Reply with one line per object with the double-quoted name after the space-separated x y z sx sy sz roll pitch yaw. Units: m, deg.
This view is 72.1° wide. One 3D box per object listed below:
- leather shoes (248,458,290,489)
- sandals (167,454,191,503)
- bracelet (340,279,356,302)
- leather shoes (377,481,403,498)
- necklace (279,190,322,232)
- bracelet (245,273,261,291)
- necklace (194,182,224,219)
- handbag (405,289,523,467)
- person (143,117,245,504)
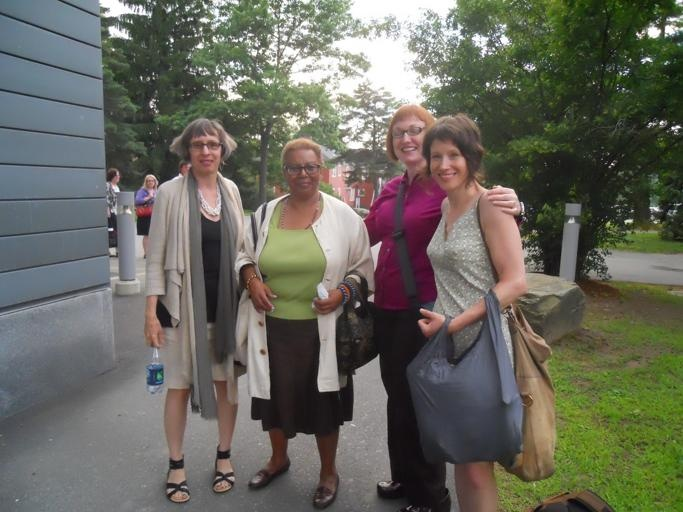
-0.588 1.739 3.814 0.109 0.103 0.323 0 4 38 "leather shoes"
-1.266 1.752 3.665 0.120 0.173 0.404 3 -11 -17 "sandals"
0.049 0.247 3.453 0.055 0.145 0.117 -7 -5 44 "bracelet"
0.384 1.787 3.647 0.168 0.066 0.133 -4 11 -28 "leather shoes"
-0.335 -0.339 3.610 0.245 0.365 0.143 2 -9 24 "necklace"
-0.660 0.192 3.488 0.100 0.081 0.138 -15 -4 -13 "bracelet"
-1.005 -0.444 3.703 0.157 0.218 0.062 4 -17 -42 "necklace"
0.670 0.672 2.578 0.627 0.959 0.261 3 10 14 "handbag"
-1.120 0.375 3.676 0.786 2.851 0.702 -4 11 -24 "person"
